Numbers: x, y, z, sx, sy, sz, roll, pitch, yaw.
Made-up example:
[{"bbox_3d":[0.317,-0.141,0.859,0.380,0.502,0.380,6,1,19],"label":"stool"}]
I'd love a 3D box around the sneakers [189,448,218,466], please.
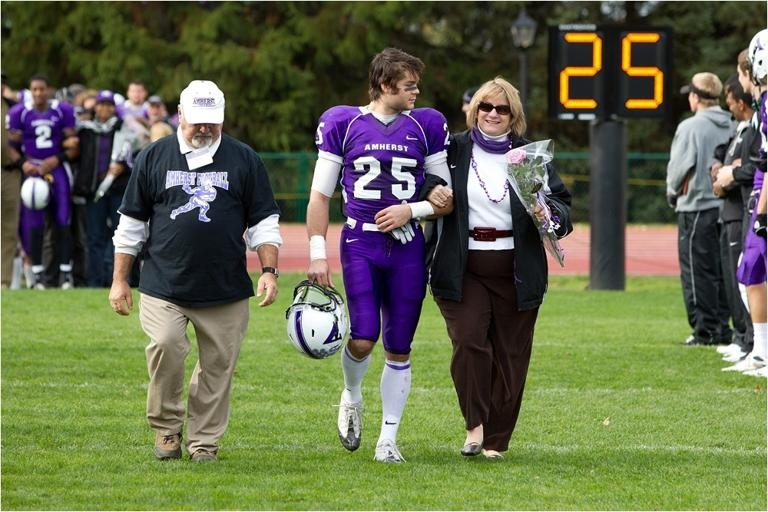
[{"bbox_3d":[-1.903,2.089,15.825,0.264,0.133,0.119,7,-24,-29],"label":"sneakers"}]

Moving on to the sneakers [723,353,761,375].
[{"bbox_3d":[4.275,1.287,17.844,0.299,0.104,0.233,-10,7,-8],"label":"sneakers"}]

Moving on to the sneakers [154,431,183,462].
[{"bbox_3d":[-2.270,1.987,15.839,0.280,0.247,0.183,-2,15,-12],"label":"sneakers"}]

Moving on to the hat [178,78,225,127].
[{"bbox_3d":[-1.923,-1.634,15.870,0.364,0.260,0.515,0,34,-13],"label":"hat"}]

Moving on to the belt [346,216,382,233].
[{"bbox_3d":[-0.227,-0.315,15.862,0.229,0.086,0.170,18,-1,15],"label":"belt"}]

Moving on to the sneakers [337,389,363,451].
[{"bbox_3d":[-0.362,1.742,16.155,0.239,0.634,0.241,0,-21,-5],"label":"sneakers"}]

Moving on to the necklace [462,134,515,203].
[{"bbox_3d":[1.139,-0.912,15.892,0.408,0.705,0.183,-3,0,10],"label":"necklace"}]

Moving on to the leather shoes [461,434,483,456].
[{"bbox_3d":[0.923,1.993,15.910,0.221,0.241,0.176,2,15,4],"label":"leather shoes"}]

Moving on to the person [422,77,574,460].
[{"bbox_3d":[1.070,0.110,15.970,1.052,3.825,1.102,-10,18,-36],"label":"person"}]

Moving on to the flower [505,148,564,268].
[{"bbox_3d":[1.574,-0.574,15.827,0.603,1.239,0.304,2,15,3],"label":"flower"}]

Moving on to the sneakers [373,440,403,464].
[{"bbox_3d":[0.054,2.038,15.866,0.316,0.205,0.201,1,15,-1],"label":"sneakers"}]

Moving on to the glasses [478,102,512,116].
[{"bbox_3d":[1.162,-1.547,15.871,0.341,0.129,0.052,2,15,3],"label":"glasses"}]

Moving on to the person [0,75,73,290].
[{"bbox_3d":[-5.002,-1.062,22.212,1.001,3.176,0.514,-5,16,-20],"label":"person"}]

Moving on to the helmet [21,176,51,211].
[{"bbox_3d":[-5.069,-0.912,21.939,0.403,0.498,0.459,-2,-5,-7],"label":"helmet"}]
